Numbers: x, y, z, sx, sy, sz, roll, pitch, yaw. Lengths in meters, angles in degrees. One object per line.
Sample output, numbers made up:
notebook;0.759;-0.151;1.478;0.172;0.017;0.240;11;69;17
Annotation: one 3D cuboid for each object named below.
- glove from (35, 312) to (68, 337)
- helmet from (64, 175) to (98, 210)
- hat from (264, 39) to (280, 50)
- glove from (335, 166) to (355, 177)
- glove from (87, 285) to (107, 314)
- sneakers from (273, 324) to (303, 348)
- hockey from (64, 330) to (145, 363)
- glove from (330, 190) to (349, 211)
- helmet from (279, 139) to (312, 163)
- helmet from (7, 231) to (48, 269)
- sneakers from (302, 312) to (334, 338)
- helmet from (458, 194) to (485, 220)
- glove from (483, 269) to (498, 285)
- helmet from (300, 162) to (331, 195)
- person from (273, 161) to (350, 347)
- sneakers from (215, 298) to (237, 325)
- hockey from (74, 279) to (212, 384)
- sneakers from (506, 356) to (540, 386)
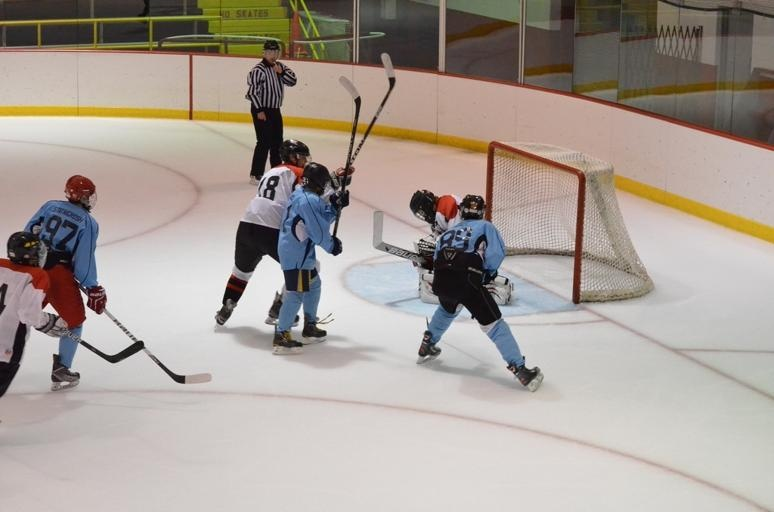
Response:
glove;-1.962;0.419;4.085;0.207;0.118;0.077;24;29;-39
helmet;-1.988;-0.408;4.483;0.221;0.190;0.181;8;10;-43
hat;-1.474;-2.710;8.981;0.155;0.109;0.212;11;18;30
glove;-0.339;-0.665;5.485;0.121;0.059;0.167;1;0;26
glove;-1.896;0.285;4.573;0.148;0.181;0.074;-2;20;3
sneakers;-0.680;0.596;5.029;0.291;0.178;0.095;1;7;-7
hockey;-1.756;0.569;4.353;0.277;0.081;0.267;38;12;2
glove;-0.334;-0.422;5.165;0.115;0.147;0.154;9;-23;10
helmet;-0.717;-0.821;5.452;0.252;0.217;0.190;-4;12;-11
helmet;-2.098;-0.053;4.066;0.200;0.211;0.229;17;19;26
sneakers;-0.507;0.535;5.341;0.286;0.179;0.092;-15;27;-34
helmet;0.597;-0.344;4.782;0.156;0.155;0.168;4;29;-4
glove;0.701;0.154;4.716;0.058;0.073;0.170;13;-18;12
helmet;-0.517;-0.557;5.029;0.188;0.226;0.274;-1;16;-7
person;-0.568;0.003;5.057;0.457;1.327;0.653;11;20;27
sneakers;-1.241;0.430;5.336;0.096;0.180;0.275;27;7;-6
hockey;-1.599;0.576;4.500;1.224;0.174;0.395;30;24;37
sneakers;0.925;0.763;4.642;0.121;0.152;0.368;-24;-8;-24
